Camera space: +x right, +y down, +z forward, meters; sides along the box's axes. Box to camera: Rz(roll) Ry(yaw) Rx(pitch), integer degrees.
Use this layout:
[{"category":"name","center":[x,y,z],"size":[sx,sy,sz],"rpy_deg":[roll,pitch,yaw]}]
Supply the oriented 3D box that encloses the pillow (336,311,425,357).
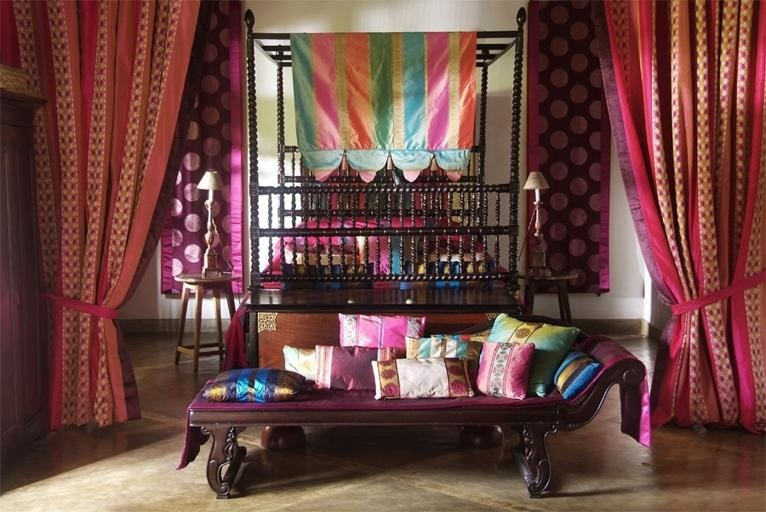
[{"category":"pillow","center":[-0.045,0.528,4.838],"size":[0.668,0.398,0.207],"rpy_deg":[2,-36,1]}]

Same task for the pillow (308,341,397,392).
[{"category":"pillow","center":[-0.197,0.752,4.611],"size":[0.551,0.346,0.136],"rpy_deg":[2,11,-5]}]

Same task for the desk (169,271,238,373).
[{"category":"desk","center":[-1.675,0.610,6.459],"size":[0.479,0.786,0.504],"rpy_deg":[6,0,-17]}]

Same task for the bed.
[{"category":"bed","center":[0.168,-0.369,6.125],"size":[2.569,3.508,1.830],"rpy_deg":[1,16,21]}]

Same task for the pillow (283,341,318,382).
[{"category":"pillow","center":[-0.558,0.717,4.594],"size":[0.196,0.208,0.087],"rpy_deg":[0,-6,11]}]

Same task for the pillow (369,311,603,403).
[{"category":"pillow","center":[0.711,0.691,4.358],"size":[0.832,0.314,0.674],"rpy_deg":[1,12,-9]}]
